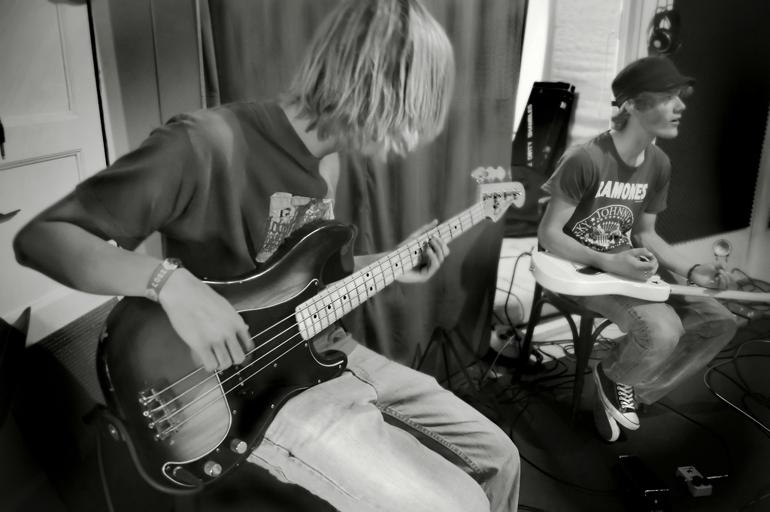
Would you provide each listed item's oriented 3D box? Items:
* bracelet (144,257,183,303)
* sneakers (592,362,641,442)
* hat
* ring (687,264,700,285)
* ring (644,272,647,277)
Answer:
[{"bbox_3d":[-0.686,0.063,1.865,0.115,0.123,0.113,-28,-29,28],"label":"bracelet"},{"bbox_3d":[1.090,0.708,2.828,0.144,0.411,0.158,0,-25,-17],"label":"sneakers"},{"bbox_3d":[1.227,-0.825,2.696,0.297,0.161,0.231,-19,14,43],"label":"hat"},{"bbox_3d":[1.483,0.087,2.830,0.063,0.089,0.020,22,-5,-38],"label":"ring"},{"bbox_3d":[1.169,0.082,2.614,0.012,0.024,0.008,0,17,30],"label":"ring"}]
